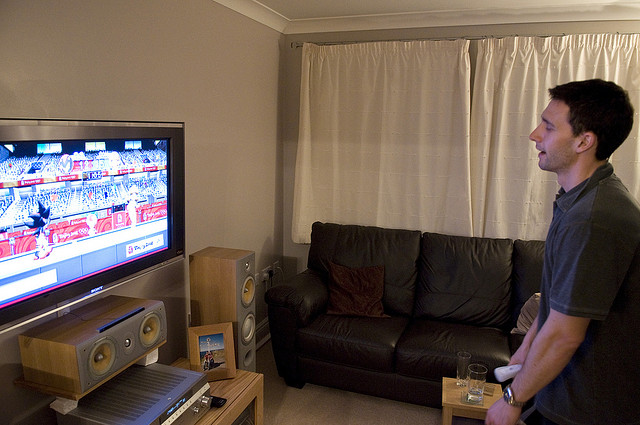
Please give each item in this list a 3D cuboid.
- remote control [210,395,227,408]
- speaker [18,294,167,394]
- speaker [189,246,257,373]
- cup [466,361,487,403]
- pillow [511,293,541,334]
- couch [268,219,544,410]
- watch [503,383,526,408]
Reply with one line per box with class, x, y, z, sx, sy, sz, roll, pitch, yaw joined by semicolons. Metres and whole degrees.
remote control;-0.621;1.153;2.859;0.087;0.019;0.059;1;24;-3
speaker;-1.289;0.743;2.749;0.471;0.363;0.684;5;11;24
speaker;-0.654;0.674;3.449;0.395;0.872;0.453;2;10;6
cup;1.039;1.141;3.118;0.164;0.224;0.169;8;-13;2
pillow;1.645;0.791;3.740;0.181;0.390;0.218;12;18;37
couch;0.830;0.903;4.035;2.211;1.324;1.231;3;2;25
watch;0.928;0.885;2.268;0.053;0.083;0.103;-33;-23;-16
